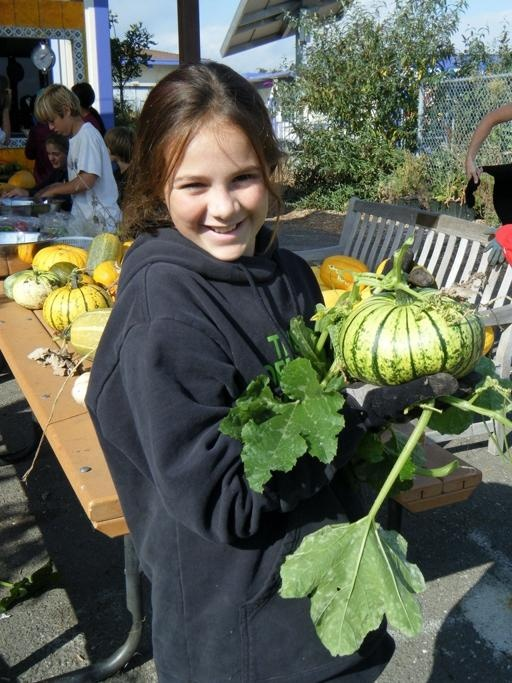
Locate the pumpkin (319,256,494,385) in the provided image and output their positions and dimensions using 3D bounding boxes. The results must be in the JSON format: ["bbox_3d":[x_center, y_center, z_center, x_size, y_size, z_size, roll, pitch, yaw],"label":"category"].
[{"bbox_3d":[0.252,-0.041,0.938,0.224,0.209,0.229,-16,17,-34],"label":"pumpkin"}]

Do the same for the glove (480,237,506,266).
[{"bbox_3d":[1.446,-0.539,3.404,0.185,0.177,0.046,-15,26,-15],"label":"glove"}]
